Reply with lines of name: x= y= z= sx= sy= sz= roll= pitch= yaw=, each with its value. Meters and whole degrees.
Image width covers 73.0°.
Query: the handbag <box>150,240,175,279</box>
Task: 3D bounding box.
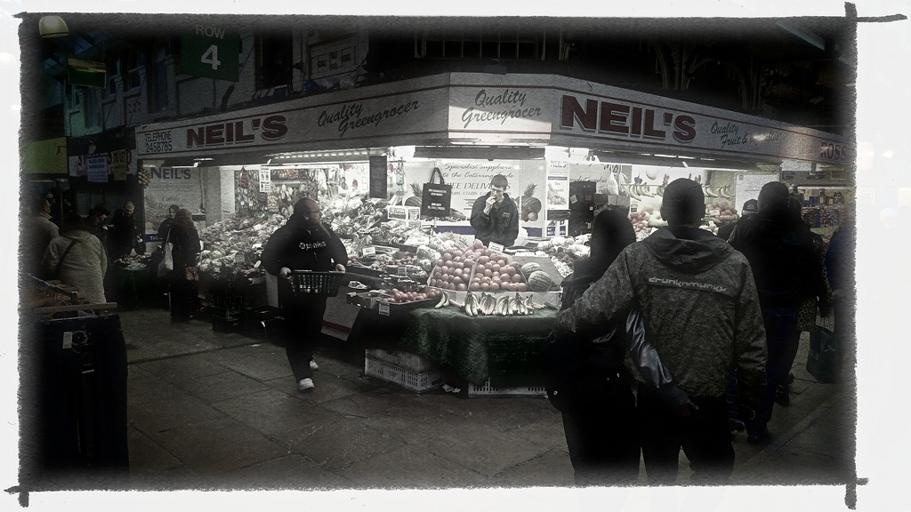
handbag: x=-6.423 y=0.111 z=13.493 sx=0.342 sy=0.786 sz=0.976 roll=6 pitch=-7 yaw=-39

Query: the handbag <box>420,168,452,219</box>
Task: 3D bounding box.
handbag: x=-0.365 y=-1.151 z=11.262 sx=0.502 sy=0.945 sz=0.640 roll=1 pitch=6 yaw=-4

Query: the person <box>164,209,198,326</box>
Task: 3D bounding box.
person: x=-5.717 y=0.191 z=12.987 sx=0.617 sy=2.345 sz=0.356 roll=-1 pitch=7 yaw=-21

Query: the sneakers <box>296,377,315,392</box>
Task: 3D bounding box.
sneakers: x=-2.313 y=1.977 z=9.478 sx=0.233 sy=0.197 sz=0.146 roll=0 pitch=6 yaw=-9

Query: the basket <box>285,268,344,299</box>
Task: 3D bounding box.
basket: x=-2.146 y=0.423 z=9.419 sx=0.728 sy=0.244 sz=0.441 roll=0 pitch=3 yaw=1

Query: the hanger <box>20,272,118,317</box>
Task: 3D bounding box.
hanger: x=-5.010 y=0.537 z=7.672 sx=1.134 sy=0.270 sz=0.789 roll=9 pitch=9 yaw=41

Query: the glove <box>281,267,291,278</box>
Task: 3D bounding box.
glove: x=-2.597 y=0.251 z=9.470 sx=0.176 sy=0.112 sz=0.153 roll=-2 pitch=13 yaw=6

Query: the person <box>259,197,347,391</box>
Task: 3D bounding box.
person: x=-2.364 y=0.585 z=9.554 sx=1.235 sy=2.930 sz=0.634 roll=0 pitch=6 yaw=-14

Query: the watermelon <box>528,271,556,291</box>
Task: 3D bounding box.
watermelon: x=1.309 y=0.398 z=9.421 sx=0.309 sy=0.239 sz=0.344 roll=-11 pitch=1 yaw=-4

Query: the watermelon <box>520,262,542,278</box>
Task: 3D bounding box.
watermelon: x=1.164 y=0.206 z=9.627 sx=0.269 sy=0.221 sz=0.263 roll=-22 pitch=-11 yaw=41

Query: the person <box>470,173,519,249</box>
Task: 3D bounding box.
person: x=0.710 y=-0.827 z=11.353 sx=0.879 sy=1.308 sz=0.502 roll=2 pitch=6 yaw=7
